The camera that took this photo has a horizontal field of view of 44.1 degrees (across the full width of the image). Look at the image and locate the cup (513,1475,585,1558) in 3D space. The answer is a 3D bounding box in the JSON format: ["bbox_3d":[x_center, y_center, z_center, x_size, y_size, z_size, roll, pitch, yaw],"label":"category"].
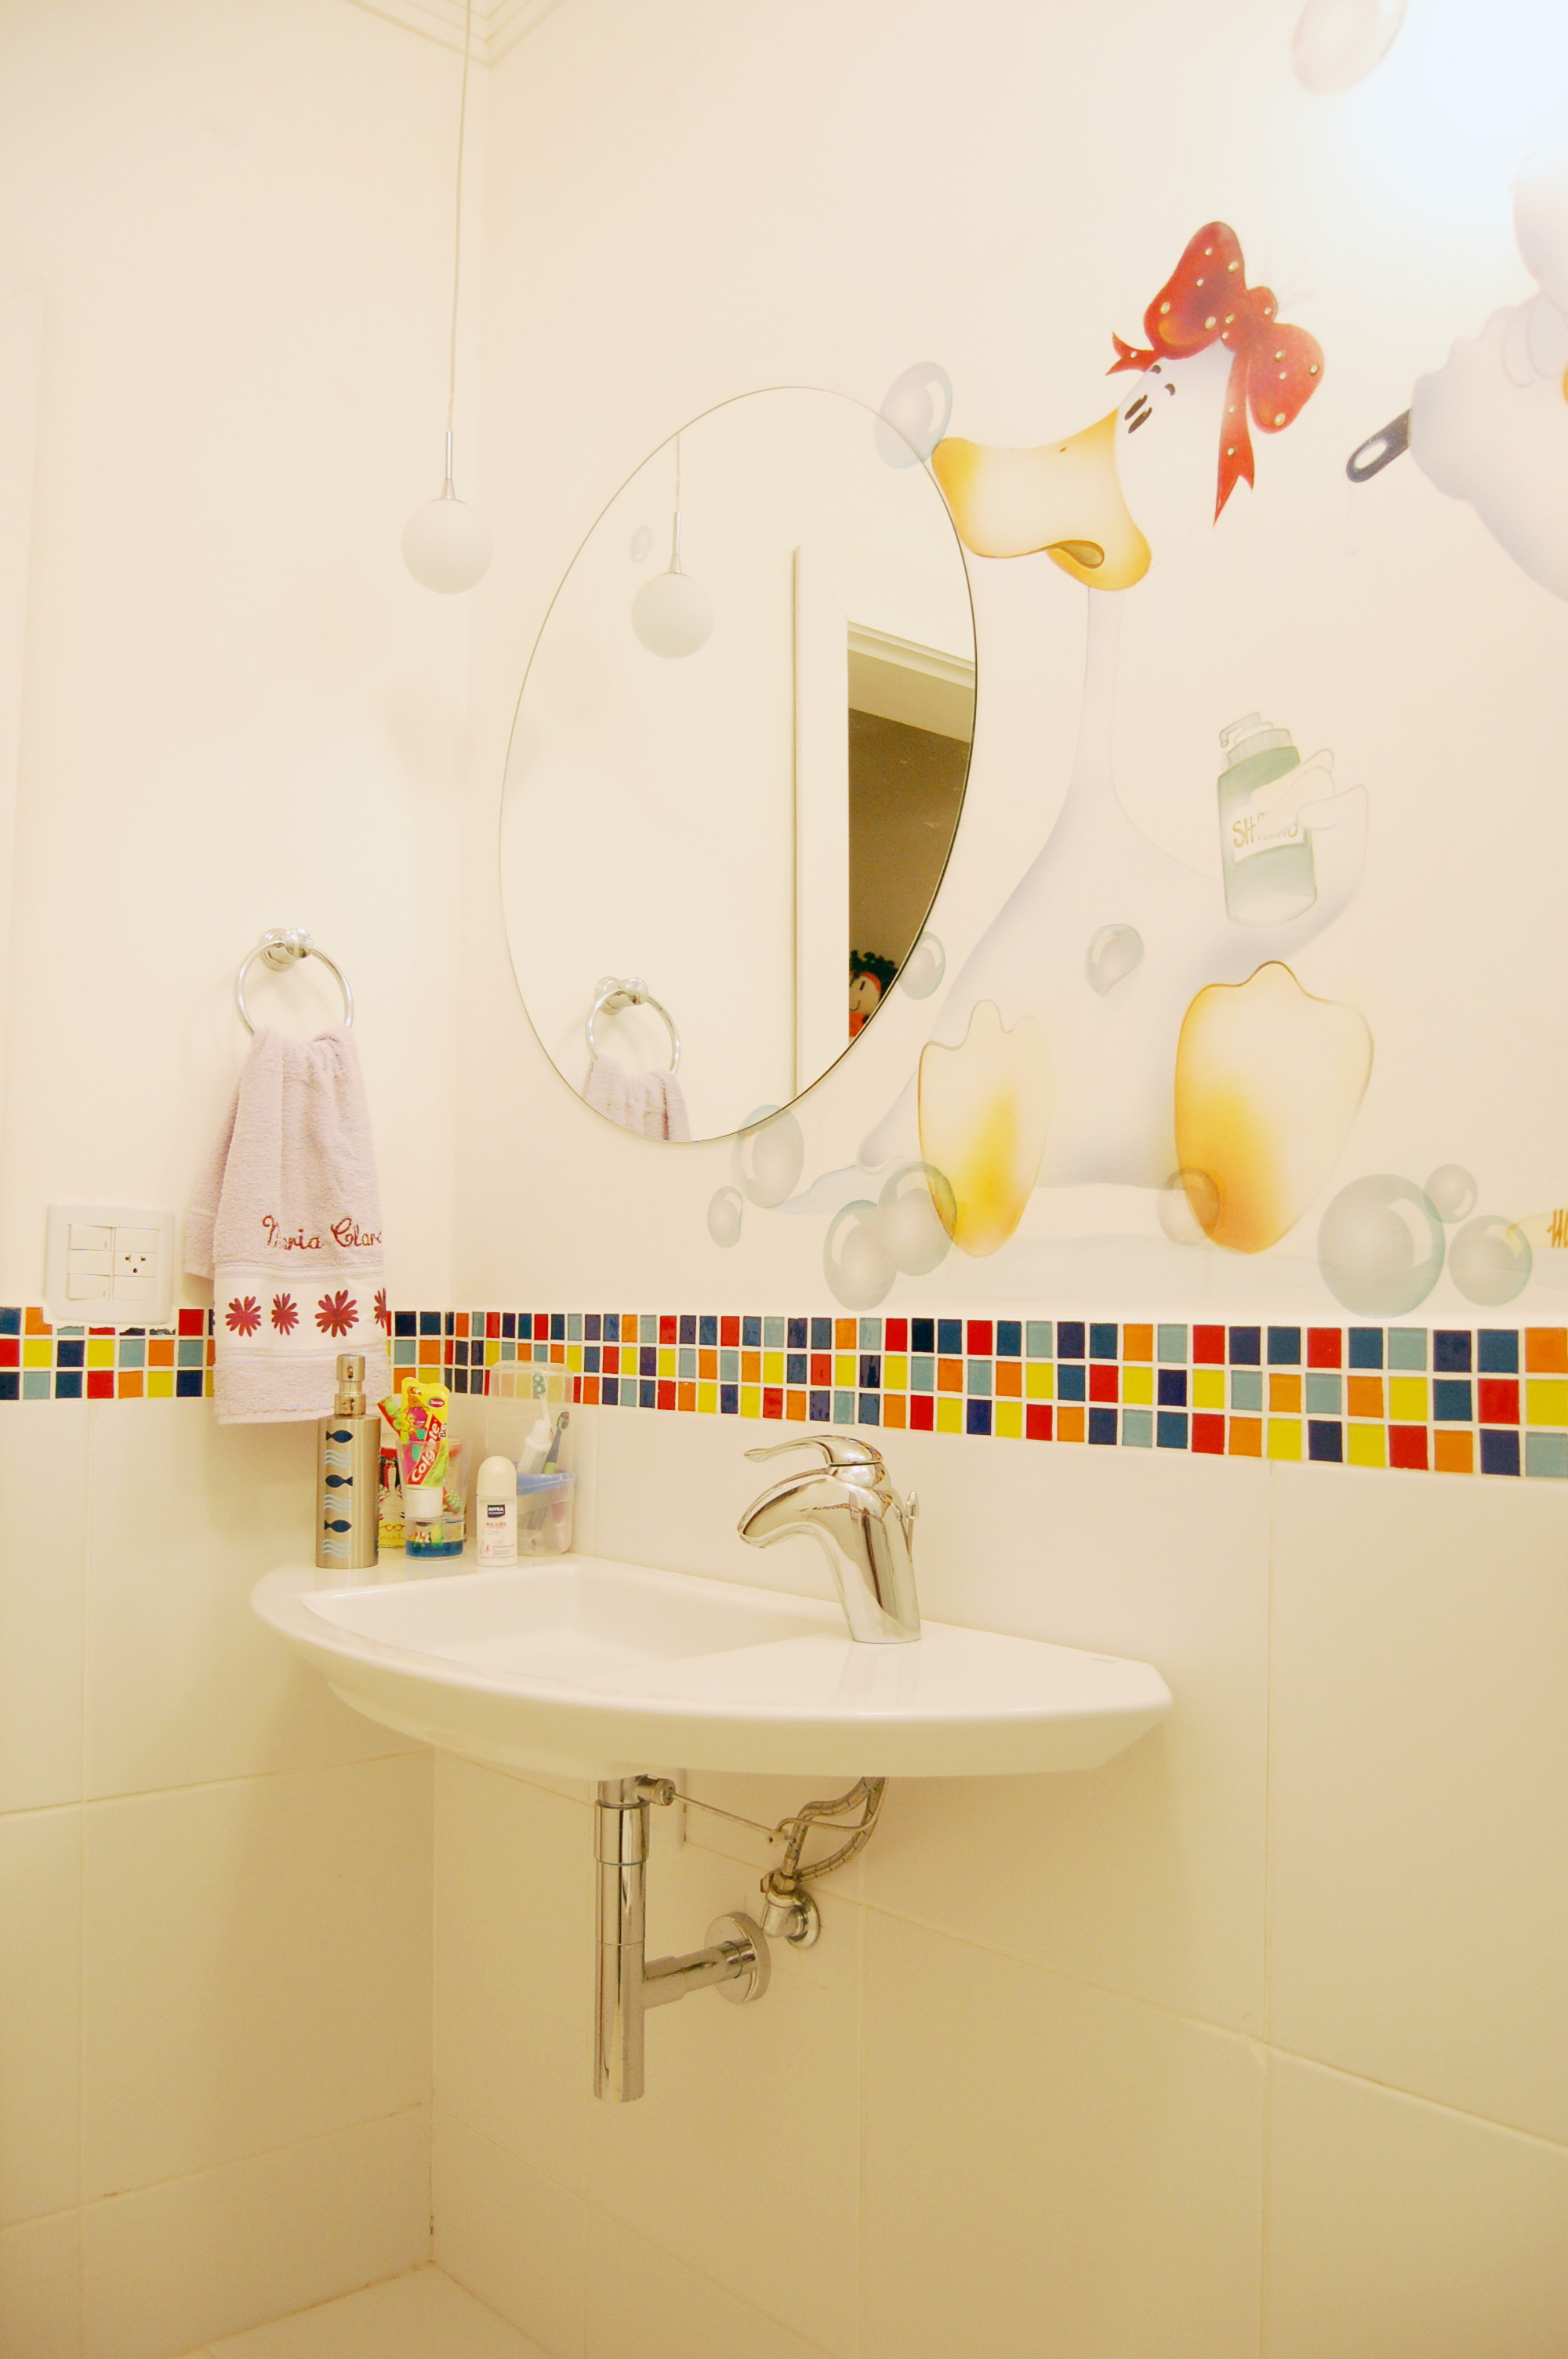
[{"bbox_3d":[-0.226,0.316,1.832,0.055,0.103,0.055,1,-3,0],"label":"cup"}]

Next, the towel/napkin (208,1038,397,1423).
[{"bbox_3d":[-0.478,0.040,1.914,0.162,0.068,0.490,-1,-52,-17],"label":"towel/napkin"}]

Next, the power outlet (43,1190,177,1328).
[{"bbox_3d":[-0.644,0.077,1.830,0.010,0.116,0.094,-10,-13,41],"label":"power outlet"}]

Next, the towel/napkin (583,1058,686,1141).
[{"bbox_3d":[-0.142,-0.074,1.855,0.074,0.094,0.026,11,8,38],"label":"towel/napkin"}]

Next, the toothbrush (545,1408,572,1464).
[{"bbox_3d":[-0.218,0.249,1.867,0.009,0.053,0.024,-3,-5,43],"label":"toothbrush"}]

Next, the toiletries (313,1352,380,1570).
[{"bbox_3d":[-0.418,0.268,1.861,0.058,0.198,0.126,2,-4,-15],"label":"toiletries"}]

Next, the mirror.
[{"bbox_3d":[-0.039,-0.381,1.747,0.030,0.695,0.593,3,-5,-39],"label":"mirror"}]
